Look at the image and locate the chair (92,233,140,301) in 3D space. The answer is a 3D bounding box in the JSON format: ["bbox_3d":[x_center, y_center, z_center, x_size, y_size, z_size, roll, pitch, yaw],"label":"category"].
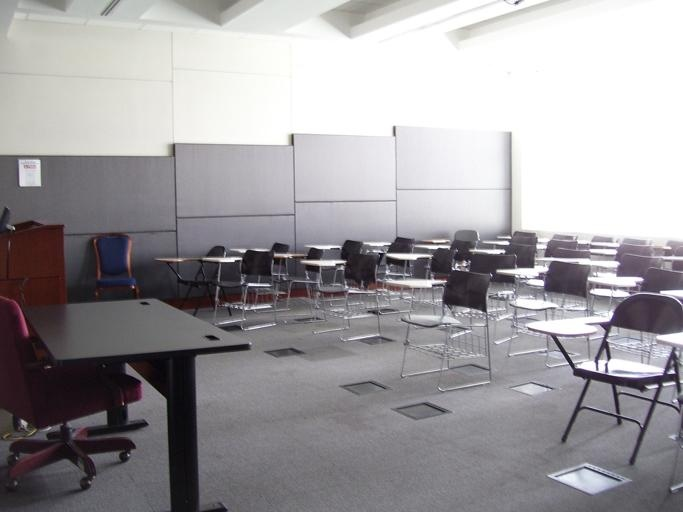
[{"bbox_3d":[-3.734,0.184,8.261,0.682,1.087,0.771,-4,8,-26],"label":"chair"}]
